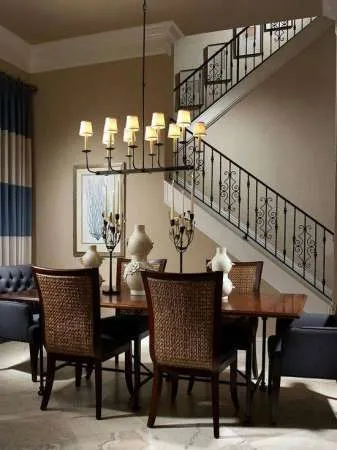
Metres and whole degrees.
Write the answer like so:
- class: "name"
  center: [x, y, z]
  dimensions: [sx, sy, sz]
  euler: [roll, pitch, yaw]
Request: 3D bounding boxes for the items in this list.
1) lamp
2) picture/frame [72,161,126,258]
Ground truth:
- class: "lamp"
  center: [-0.275, -1.333, 3.981]
  dimensions: [0.913, 1.945, 2.084]
  euler: [1, -2, -6]
- class: "picture/frame"
  center: [-0.841, -0.153, 5.089]
  dimensions: [0.660, 1.329, 0.040]
  euler: [-4, 26, -19]
